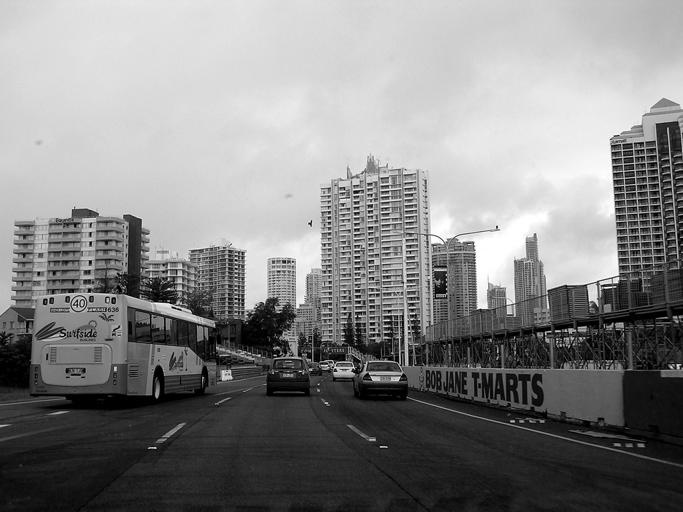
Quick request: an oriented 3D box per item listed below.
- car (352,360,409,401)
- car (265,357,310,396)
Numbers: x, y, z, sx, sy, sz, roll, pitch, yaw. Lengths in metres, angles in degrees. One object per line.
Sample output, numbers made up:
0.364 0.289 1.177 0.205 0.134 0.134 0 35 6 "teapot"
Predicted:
1.600 4.905 30.257 2.100 1.506 1.382 -5 -12 20 "car"
-2.290 5.154 32.295 1.795 1.622 1.839 0 -12 -6 "car"
